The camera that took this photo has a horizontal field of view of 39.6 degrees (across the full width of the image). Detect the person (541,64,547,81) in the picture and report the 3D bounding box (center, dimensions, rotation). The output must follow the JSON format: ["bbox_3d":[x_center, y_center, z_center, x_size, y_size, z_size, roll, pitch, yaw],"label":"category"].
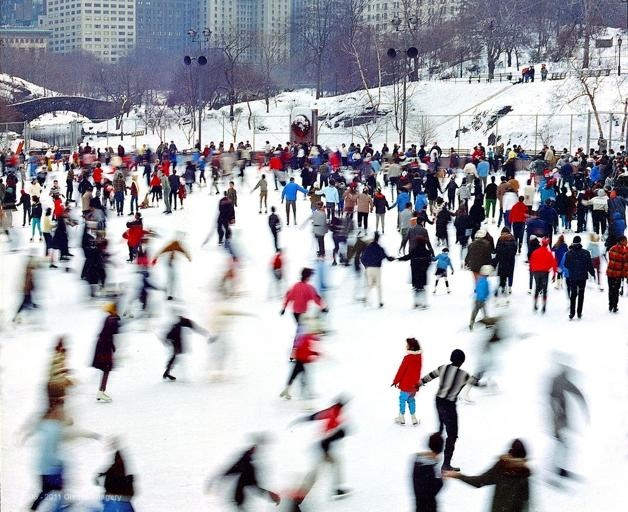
[{"bbox_3d":[16.403,-12.920,61.834,0.313,1.222,2.336,1,8,15],"label":"person"}]
